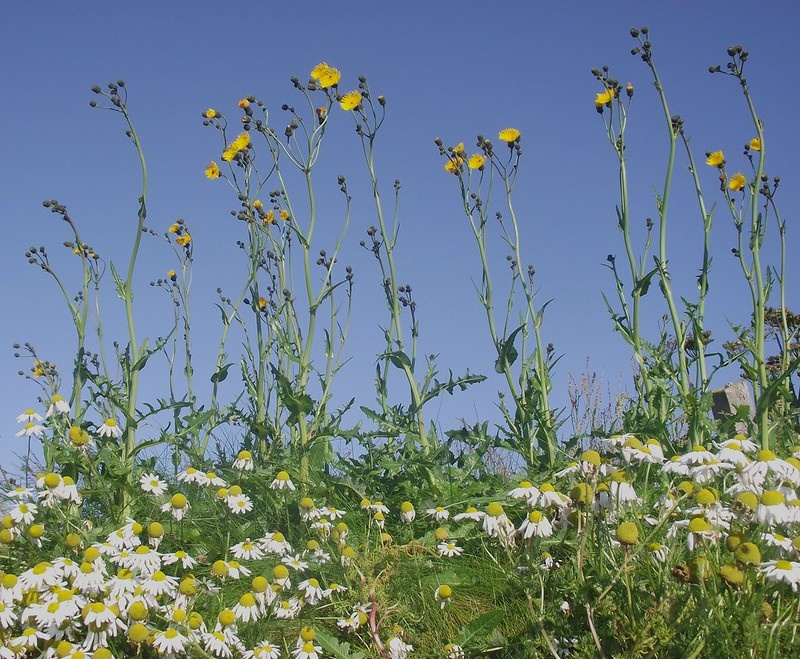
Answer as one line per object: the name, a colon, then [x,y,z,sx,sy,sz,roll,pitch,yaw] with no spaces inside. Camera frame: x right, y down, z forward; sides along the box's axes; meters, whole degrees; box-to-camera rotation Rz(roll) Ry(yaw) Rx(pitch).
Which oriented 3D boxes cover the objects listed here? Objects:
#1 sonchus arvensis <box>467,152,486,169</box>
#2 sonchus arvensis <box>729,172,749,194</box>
sonchus arvensis: [0.539,-1.179,6.839,0.107,0.082,0.064,-9,-4,1]
sonchus arvensis: [2.430,-1.060,7.010,0.116,0.114,0.061,-10,-5,24]
